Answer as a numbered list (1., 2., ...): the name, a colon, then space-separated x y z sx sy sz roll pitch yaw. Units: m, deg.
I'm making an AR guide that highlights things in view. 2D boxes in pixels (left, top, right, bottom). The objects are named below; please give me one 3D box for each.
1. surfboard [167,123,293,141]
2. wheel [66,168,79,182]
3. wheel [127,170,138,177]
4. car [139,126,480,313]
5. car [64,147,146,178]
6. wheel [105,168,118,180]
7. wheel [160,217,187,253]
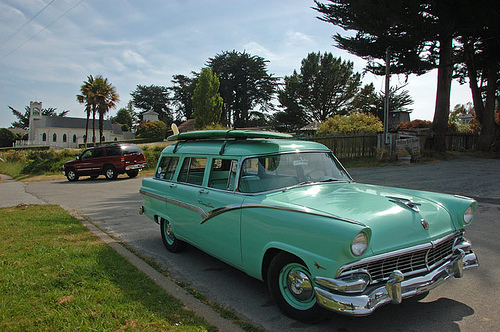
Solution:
1. surfboard: -0.622 -0.582 5.886 2.501 0.204 0.747 4 10 40
2. wheel: -11.684 0.559 20.285 0.729 0.698 0.253 -18 -2 0
3. wheel: -7.833 0.471 20.544 0.647 0.546 0.844 -5 9 -20
4. car: 0.332 0.784 5.445 3.014 1.737 4.893 -2 2 -43
5. car: -9.574 -0.280 20.170 4.450 1.911 1.041 -2 9 5
6. wheel: -8.903 0.464 19.760 0.724 0.687 0.254 -7 -5 3
7. wheel: -1.534 1.381 6.235 0.252 0.742 0.762 -3 10 -37
